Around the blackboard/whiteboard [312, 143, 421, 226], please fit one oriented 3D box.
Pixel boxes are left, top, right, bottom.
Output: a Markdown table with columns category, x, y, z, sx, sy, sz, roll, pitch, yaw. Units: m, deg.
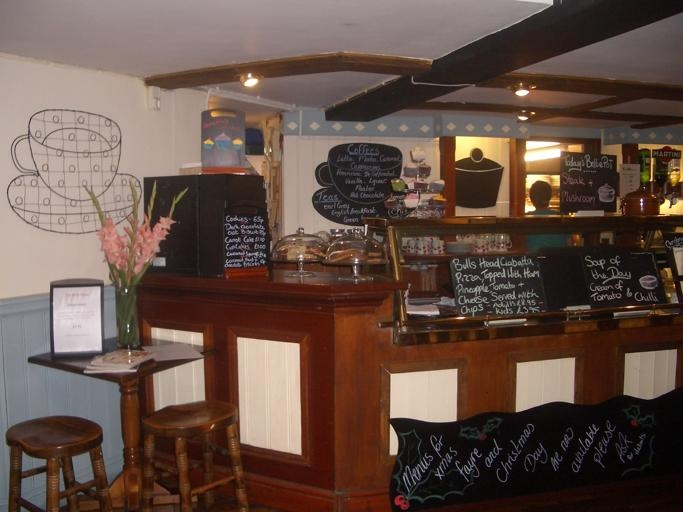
| category | x | y | z | sx | sy | sz | roll | pitch | yaw |
| --- | --- | --- | --- | --- | --- | --- | --- | --- | --- |
| blackboard/whiteboard | 0.180 | -0.754 | 5.853 | 1.235 | 0.957 | 0.049 | -2 | 5 | -25 |

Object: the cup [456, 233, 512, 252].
| category | x | y | z | sx | sy | sz | roll | pitch | yaw |
| --- | --- | --- | --- | --- | --- | --- | --- | --- | --- |
| cup | 1.167 | -0.083 | 4.531 | 0.371 | 0.119 | 0.208 | 0 | 1 | 2 |

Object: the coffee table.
| category | x | y | z | sx | sy | sz | roll | pitch | yaw |
| --- | --- | --- | --- | --- | --- | --- | --- | --- | --- |
| coffee table | -1.444 | 1.056 | 3.823 | 1.102 | 1.108 | 1.084 | -1 | -2 | 36 |

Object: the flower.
| category | x | y | z | sx | sy | sz | roll | pitch | yaw |
| --- | --- | --- | --- | --- | --- | --- | --- | --- | --- |
| flower | -1.365 | 0.051 | 3.642 | 0.754 | 1.031 | 0.556 | 1 | 9 | 21 |

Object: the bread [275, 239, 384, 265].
| category | x | y | z | sx | sy | sz | roll | pitch | yaw |
| --- | --- | --- | --- | --- | --- | --- | --- | --- | --- |
| bread | -0.097 | -0.042 | 3.625 | 0.762 | 0.172 | 0.324 | 0 | 3 | 32 |

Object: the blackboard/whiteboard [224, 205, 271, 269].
| category | x | y | z | sx | sy | sz | roll | pitch | yaw |
| --- | --- | --- | --- | --- | --- | --- | --- | --- | --- |
| blackboard/whiteboard | -0.652 | -0.126 | 3.758 | 0.469 | 0.484 | 0.053 | -1 | -2 | -44 |

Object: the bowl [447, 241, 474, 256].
| category | x | y | z | sx | sy | sz | roll | pitch | yaw |
| --- | --- | --- | --- | --- | --- | --- | --- | --- | --- |
| bowl | 0.942 | -0.072 | 4.395 | 0.170 | 0.061 | 0.151 | -5 | 8 | -35 |

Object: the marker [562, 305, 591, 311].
| category | x | y | z | sx | sy | sz | roll | pitch | yaw |
| --- | --- | --- | --- | --- | --- | --- | --- | --- | --- |
| marker | 1.569 | 0.344 | 3.712 | 0.186 | 0.043 | 0.031 | -2 | 3 | -9 |

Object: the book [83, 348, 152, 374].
| category | x | y | z | sx | sy | sz | roll | pitch | yaw |
| --- | --- | --- | --- | --- | --- | --- | --- | --- | --- |
| book | -1.310 | 0.618 | 3.275 | 0.357 | 0.081 | 0.218 | -2 | 3 | -9 |

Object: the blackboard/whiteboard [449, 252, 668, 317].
| category | x | y | z | sx | sy | sz | roll | pitch | yaw |
| --- | --- | --- | --- | --- | --- | --- | --- | --- | --- |
| blackboard/whiteboard | 1.461 | 0.166 | 3.736 | 1.525 | 0.393 | 0.207 | -2 | 3 | -15 |

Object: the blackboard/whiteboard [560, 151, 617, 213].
| category | x | y | z | sx | sy | sz | roll | pitch | yaw |
| --- | --- | --- | --- | --- | --- | --- | --- | --- | --- |
| blackboard/whiteboard | 1.912 | -0.570 | 4.336 | 0.539 | 0.504 | 0.044 | 0 | 1 | -15 |

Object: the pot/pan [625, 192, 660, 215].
| category | x | y | z | sx | sy | sz | roll | pitch | yaw |
| --- | --- | --- | --- | --- | --- | --- | --- | --- | --- |
| pot/pan | 2.242 | -0.375 | 4.156 | 0.208 | 0.147 | 0.207 | -4 | 5 | -44 |
